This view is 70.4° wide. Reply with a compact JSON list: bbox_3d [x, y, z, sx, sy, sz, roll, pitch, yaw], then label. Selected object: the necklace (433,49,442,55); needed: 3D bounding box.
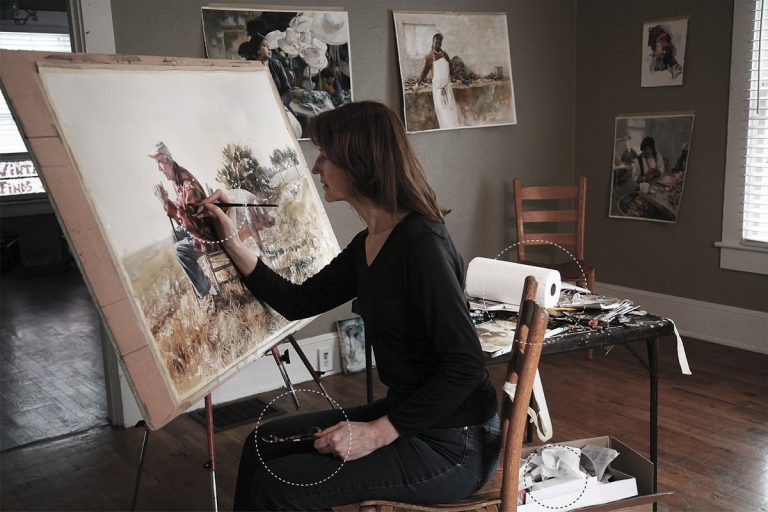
[{"bbox_3d":[0.401,-1.554,4.166,0.042,0.015,0.044,-2,-13,8],"label":"necklace"}]
